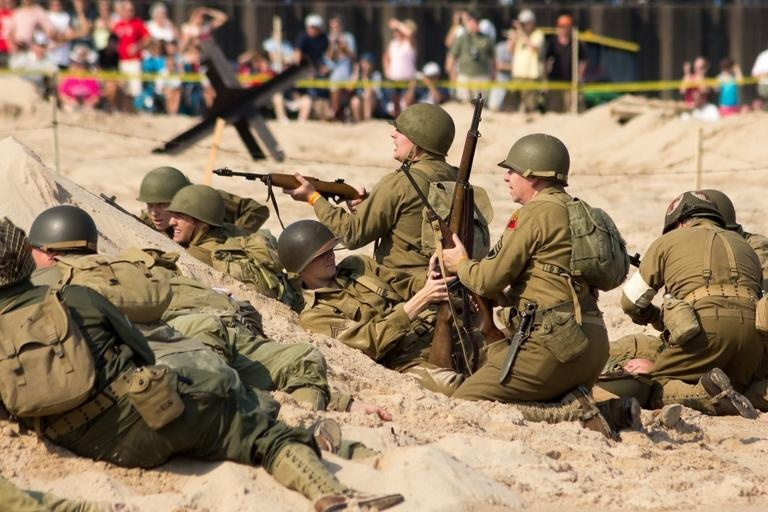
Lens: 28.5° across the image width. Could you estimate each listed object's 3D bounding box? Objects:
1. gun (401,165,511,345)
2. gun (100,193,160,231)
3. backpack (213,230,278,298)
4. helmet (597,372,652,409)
[{"bbox_3d":[0.844,0.070,18.893,0.433,2.301,0.181,-20,-8,6],"label":"gun"},{"bbox_3d":[-3.504,-0.581,20.973,0.084,0.390,1.128,-10,43,-47],"label":"gun"},{"bbox_3d":[-1.824,0.219,20.006,0.829,0.336,0.759,38,38,6],"label":"backpack"},{"bbox_3d":[3.031,1.626,18.894,0.477,0.390,0.485,1,-4,-32],"label":"helmet"}]
